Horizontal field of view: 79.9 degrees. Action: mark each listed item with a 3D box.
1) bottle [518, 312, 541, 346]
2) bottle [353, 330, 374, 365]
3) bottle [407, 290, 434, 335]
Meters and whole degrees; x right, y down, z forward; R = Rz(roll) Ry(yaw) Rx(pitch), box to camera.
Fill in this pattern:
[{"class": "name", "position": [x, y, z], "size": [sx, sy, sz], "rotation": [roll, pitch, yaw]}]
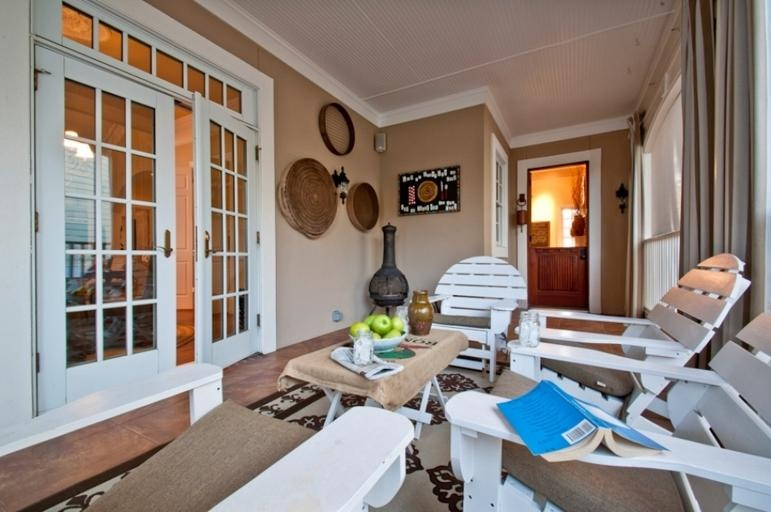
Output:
[{"class": "bottle", "position": [0.858, 0.435, 2.772], "size": [0.134, 0.212, 0.127], "rotation": [0, 1, 0]}, {"class": "bottle", "position": [-0.124, 0.604, 2.767], "size": [0.114, 0.163, 0.118], "rotation": [-2, -44, -2]}, {"class": "bottle", "position": [0.246, 0.397, 3.253], "size": [0.190, 0.299, 0.205], "rotation": [0, 3, 0]}]
